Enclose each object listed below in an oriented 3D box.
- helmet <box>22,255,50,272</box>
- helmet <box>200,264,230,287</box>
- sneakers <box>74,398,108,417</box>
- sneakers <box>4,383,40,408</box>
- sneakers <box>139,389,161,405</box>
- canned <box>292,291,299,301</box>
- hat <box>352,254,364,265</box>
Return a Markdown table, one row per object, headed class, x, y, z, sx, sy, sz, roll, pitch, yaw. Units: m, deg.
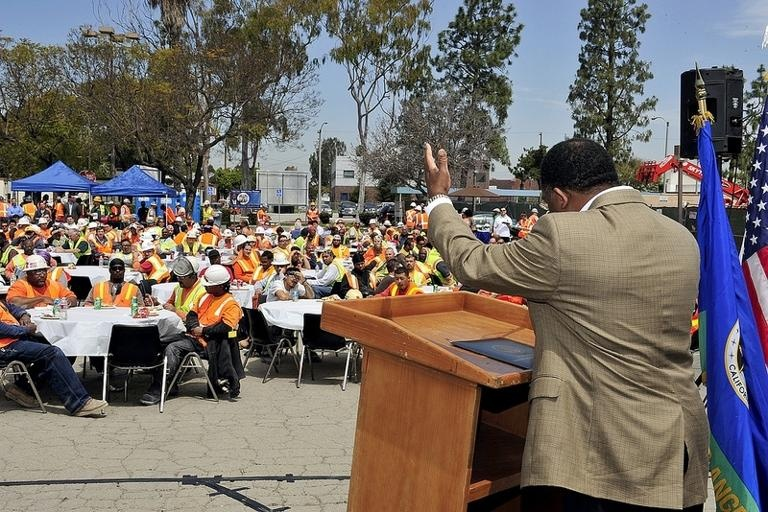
| class | x | y | z | sx | sy | sz | roll | pitch | yaw |
| --- | --- | --- | --- | --- | --- | --- | --- | --- | --- |
| helmet | -4.744 | 0.077 | 11.585 | 0.274 | 0.151 | 0.223 | -4 | -3 | 42 |
| helmet | -2.083 | 0.233 | 10.716 | 0.293 | 0.158 | 0.246 | 1 | 46 | -16 |
| sneakers | -3.435 | 1.744 | 10.173 | 0.397 | 0.193 | 0.178 | -6 | 11 | -4 |
| sneakers | -4.383 | 1.654 | 10.391 | 0.351 | 0.154 | 0.127 | 35 | 0 | -16 |
| sneakers | -2.899 | 1.704 | 10.614 | 0.122 | 0.155 | 0.326 | 12 | -11 | 3 |
| canned | -1.326 | 0.564 | 12.837 | 0.112 | 0.111 | 0.114 | 1 | -4 | -5 |
| hat | -0.444 | 0.022 | 14.679 | 0.153 | 0.186 | 0.170 | 2 | -9 | -3 |
